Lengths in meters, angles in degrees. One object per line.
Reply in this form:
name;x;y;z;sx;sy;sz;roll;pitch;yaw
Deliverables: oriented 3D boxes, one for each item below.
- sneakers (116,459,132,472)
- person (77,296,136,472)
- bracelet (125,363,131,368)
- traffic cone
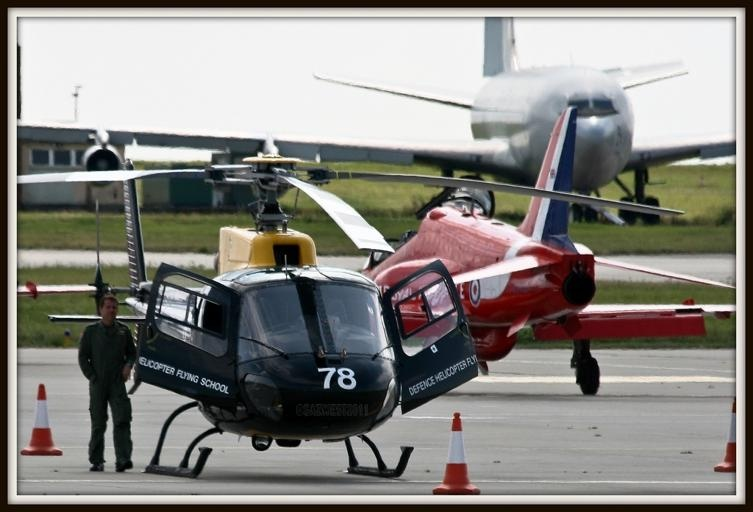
sneakers;-3.470;2.864;24.611;0.222;0.097;0.138;-4;1;6
person;-3.707;1.721;24.702;0.764;2.384;0.612;0;7;-9
bracelet;-3.417;1.480;24.655;0.064;0.014;0.058;-8;27;-12
traffic cone;1.079;2.596;23.889;0.618;1.009;0.731;1;6;2
